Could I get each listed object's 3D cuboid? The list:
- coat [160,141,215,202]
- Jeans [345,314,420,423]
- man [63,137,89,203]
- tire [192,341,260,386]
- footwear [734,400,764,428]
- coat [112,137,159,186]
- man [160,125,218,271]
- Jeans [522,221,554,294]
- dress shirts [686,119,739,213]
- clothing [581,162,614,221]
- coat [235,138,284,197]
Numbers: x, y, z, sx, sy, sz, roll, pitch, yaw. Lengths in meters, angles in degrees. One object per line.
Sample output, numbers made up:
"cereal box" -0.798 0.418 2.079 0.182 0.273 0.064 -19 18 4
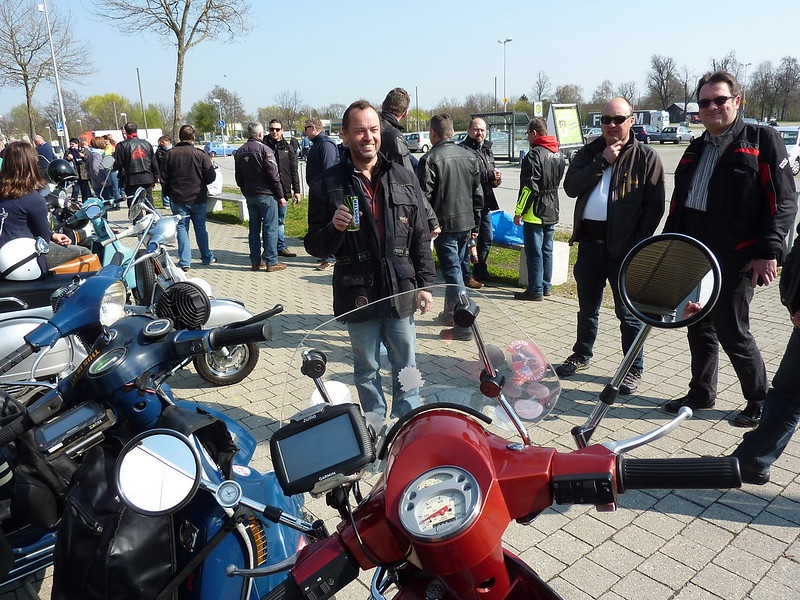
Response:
"coat" -3.440 -2.053 9.539 0.771 0.956 0.504 -5 24 -21
"Jeans" -0.065 0.290 2.362 0.292 0.209 0.637 -8 24 2
"man" -9.684 -3.788 17.735 0.633 2.184 0.628 -6 1 -25
"tire" -1.580 0.521 5.438 0.547 0.577 0.158 5 33 -38
"footwear" 2.659 0.871 4.502 0.138 0.172 0.387 24 8 35
"coat" -5.598 -2.992 12.589 0.867 0.978 0.604 -17 28 -40
"man" -3.432 -1.695 9.672 0.727 2.214 0.634 -2 9 -28
"Jeans" 1.770 -0.558 7.506 0.446 0.978 0.286 -12 18 -41
"dress shirts" 2.260 -1.002 4.507 0.345 0.510 0.535 21 -13 32
"clothing" 1.744 -0.929 5.233 0.280 0.438 0.361 5 -13 -3
"coat" -2.237 -1.994 9.256 0.713 0.915 0.467 -3 17 0
